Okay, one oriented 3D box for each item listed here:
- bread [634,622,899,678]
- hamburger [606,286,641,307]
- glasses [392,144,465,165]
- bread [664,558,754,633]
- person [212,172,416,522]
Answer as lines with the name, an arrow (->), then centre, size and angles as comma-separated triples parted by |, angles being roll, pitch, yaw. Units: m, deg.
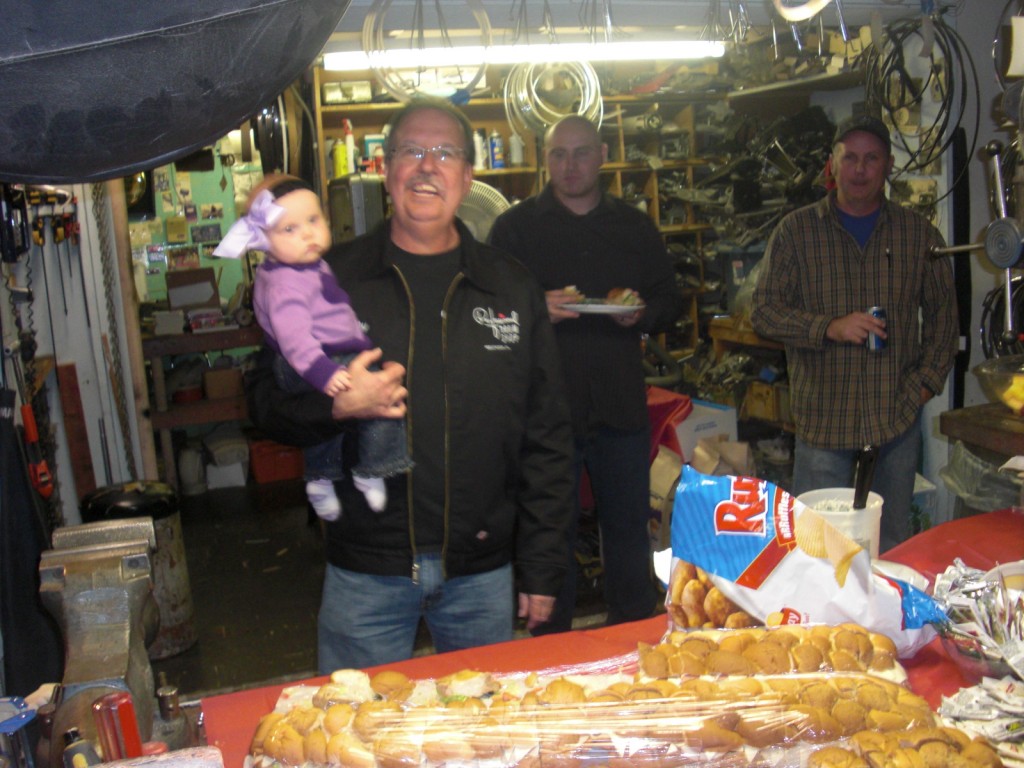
bread -> 0.454, 0.486, 1.575 | 0.283, 0.072, 0.172 | -1, -6, 1
hamburger -> 0.458, -0.357, 3.615 | 0.107, 0.050, 0.148 | 3, 3, 9
glasses -> -0.232, -0.644, 2.466 | 0.197, 0.052, 0.078 | -4, 10, -4
bread -> 0.382, 0.429, 1.723 | 0.140, 0.126, 0.047 | 10, 14, 16
person -> -0.527, -0.067, 2.375 | 0.396, 0.981, 0.347 | 3, 11, 35
